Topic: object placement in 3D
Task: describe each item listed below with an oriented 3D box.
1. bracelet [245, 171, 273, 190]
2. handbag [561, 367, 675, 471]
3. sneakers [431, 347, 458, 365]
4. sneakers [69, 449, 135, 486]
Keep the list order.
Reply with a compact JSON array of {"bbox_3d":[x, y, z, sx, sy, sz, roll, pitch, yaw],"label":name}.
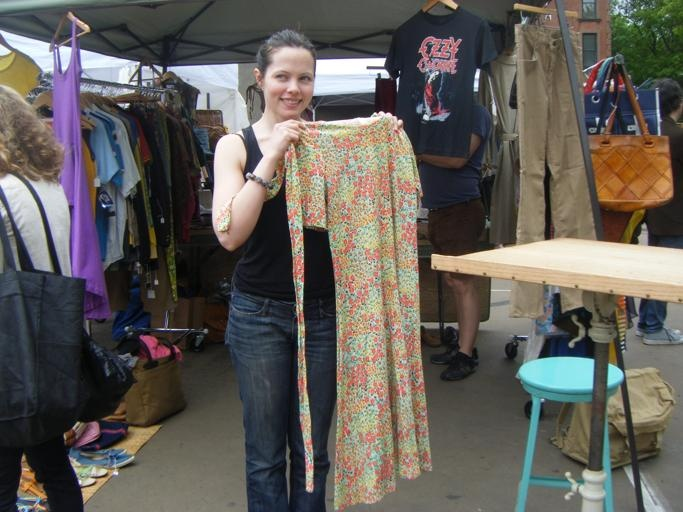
[{"bbox_3d":[-0.314,-0.288,2.213,0.091,0.062,0.049,-6,12,-23],"label":"bracelet"},{"bbox_3d":[1.839,1.106,3.715,0.728,0.279,0.531,-17,29,-31],"label":"handbag"},{"bbox_3d":[0.942,0.919,5.327,0.283,0.127,0.115,-3,15,0],"label":"sneakers"},{"bbox_3d":[-1.556,1.328,3.634,0.256,0.076,0.196,-1,6,7],"label":"sneakers"}]
